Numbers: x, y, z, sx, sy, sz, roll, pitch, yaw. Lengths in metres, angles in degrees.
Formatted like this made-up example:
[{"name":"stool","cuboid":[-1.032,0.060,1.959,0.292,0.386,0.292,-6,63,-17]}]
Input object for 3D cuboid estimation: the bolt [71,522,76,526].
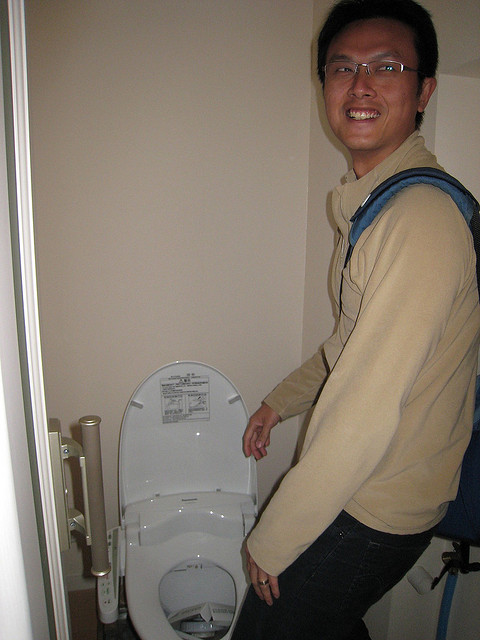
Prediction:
[{"name":"bolt","cuboid":[-0.282,0.342,0.874,0.006,0.007,0.008,0,11,-5]}]
